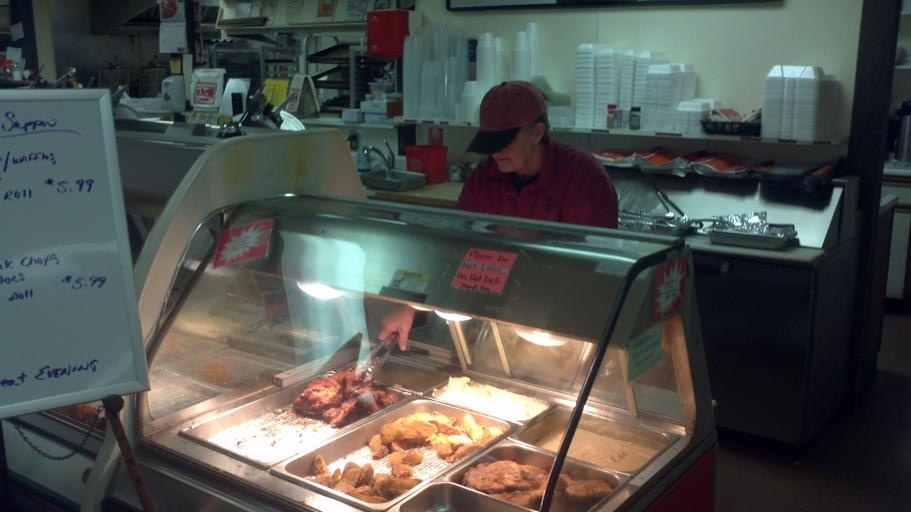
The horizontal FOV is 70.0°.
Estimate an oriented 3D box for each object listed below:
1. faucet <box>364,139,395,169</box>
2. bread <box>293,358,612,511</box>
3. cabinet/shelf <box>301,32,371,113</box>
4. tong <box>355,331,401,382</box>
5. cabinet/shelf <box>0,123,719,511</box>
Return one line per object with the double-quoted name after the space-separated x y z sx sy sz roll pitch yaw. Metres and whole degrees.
-0.693 -0.918 5.915 0.333 0.324 0.239 -5 25 -12 "faucet"
-0.077 0.756 2.515 1.303 0.223 0.534 8 18 23 "bread"
-1.284 -1.919 6.759 0.604 0.731 1.294 -3 17 -14 "cabinet/shelf"
-0.342 0.448 2.913 0.257 0.066 0.073 -42 14 -7 "tong"
-0.469 0.293 2.621 1.887 1.285 1.356 5 10 29 "cabinet/shelf"
